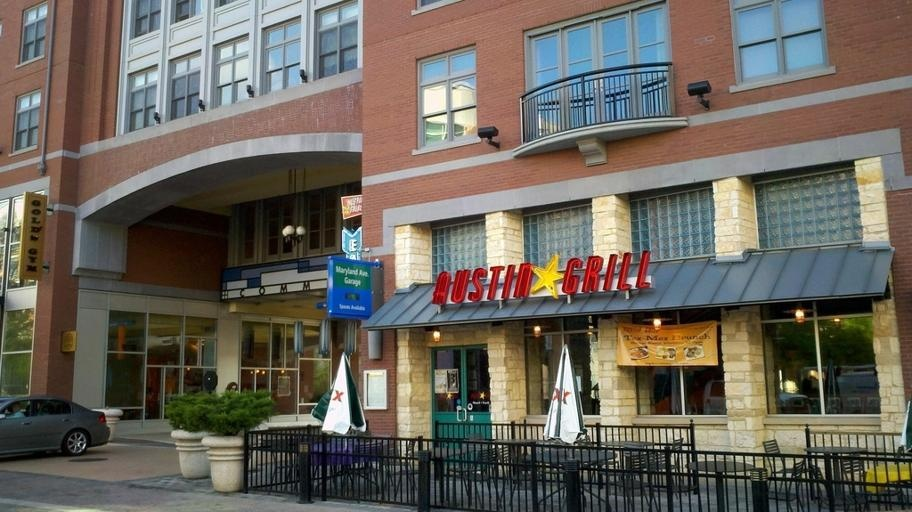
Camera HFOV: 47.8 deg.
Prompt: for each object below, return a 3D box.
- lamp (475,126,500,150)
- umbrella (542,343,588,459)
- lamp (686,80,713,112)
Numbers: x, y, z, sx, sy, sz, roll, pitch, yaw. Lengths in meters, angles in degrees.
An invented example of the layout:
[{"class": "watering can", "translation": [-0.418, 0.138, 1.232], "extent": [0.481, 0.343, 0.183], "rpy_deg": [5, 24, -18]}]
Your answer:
[{"class": "lamp", "translation": [1.189, -4.257, 36.602], "extent": [0.672, 0.538, 0.933], "rpy_deg": [0, -2, 23]}, {"class": "umbrella", "translation": [3.228, 4.063, 30.684], "extent": [1.108, 2.895, 0.629], "rpy_deg": [-2, -15, 6]}, {"class": "lamp", "translation": [8.132, -5.353, 34.195], "extent": [0.784, 0.866, 0.598], "rpy_deg": [-4, -14, 12]}]
